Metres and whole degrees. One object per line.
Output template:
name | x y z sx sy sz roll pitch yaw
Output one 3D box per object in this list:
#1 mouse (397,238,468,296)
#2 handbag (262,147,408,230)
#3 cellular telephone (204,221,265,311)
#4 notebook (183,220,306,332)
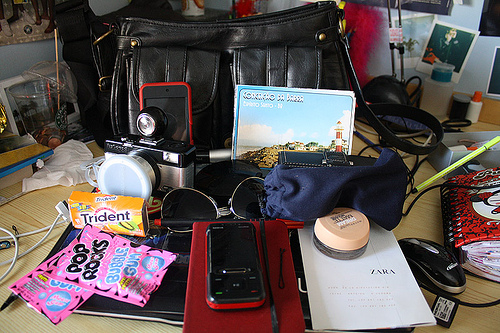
mouse | 0.351 0.191 0.676 0.128 0.073 0.067 17 29 37
handbag | 0.183 0.040 0.734 0.298 0.171 0.248 7 24 19
cellular telephone | -0.026 0.158 0.596 0.095 0.151 0.027 -1 -1 -2
notebook | -0.014 0.179 0.597 0.187 0.098 0.180 -3 22 -3
